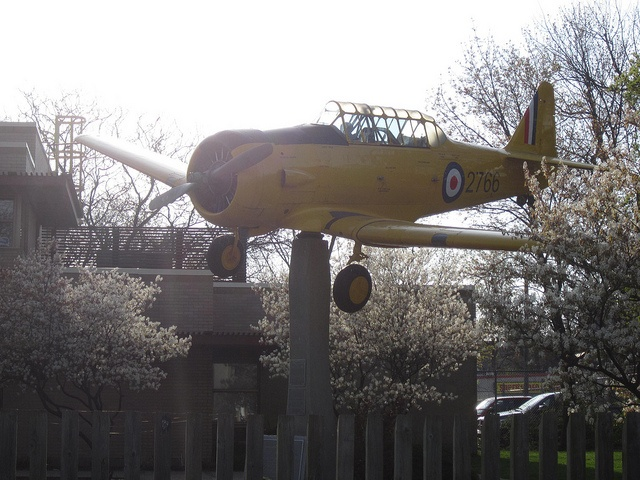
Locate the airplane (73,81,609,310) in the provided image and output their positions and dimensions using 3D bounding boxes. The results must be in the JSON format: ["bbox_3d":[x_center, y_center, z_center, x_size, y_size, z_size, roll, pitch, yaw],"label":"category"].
[{"bbox_3d":[0.910,-0.854,15.915,7.802,4.235,4.863,1,-12,-14],"label":"airplane"}]
